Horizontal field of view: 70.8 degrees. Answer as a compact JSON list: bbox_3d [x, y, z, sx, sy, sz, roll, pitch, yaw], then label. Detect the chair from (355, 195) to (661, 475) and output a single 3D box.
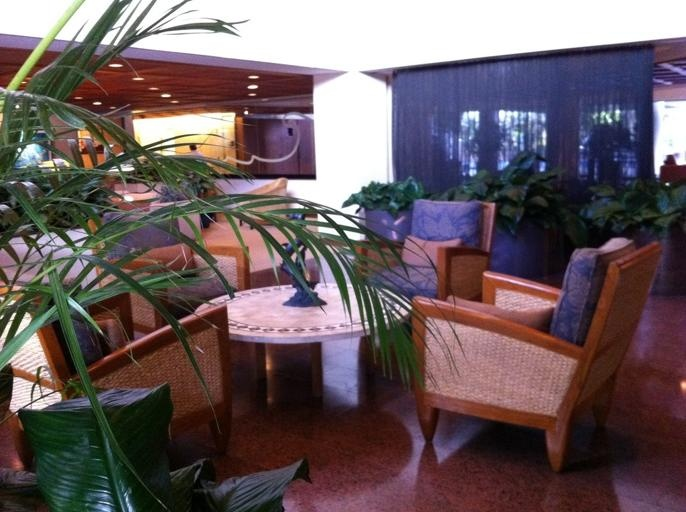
[{"bbox_3d":[0.808,0.335,3.285,2.053,1.653,1.462,9,18,36],"label":"chair"}]
